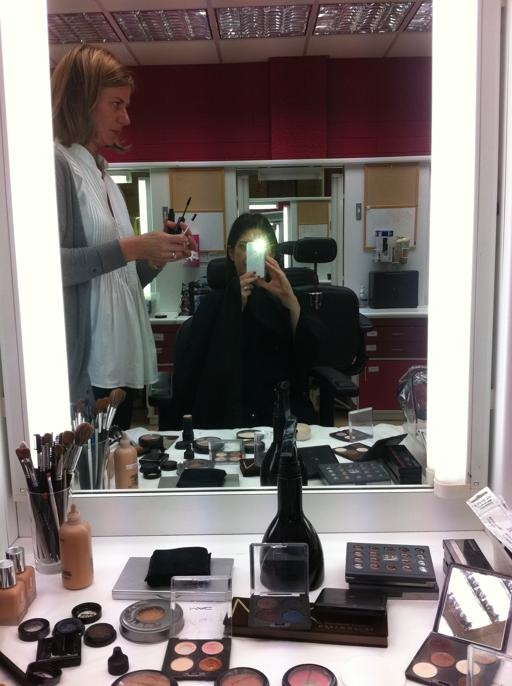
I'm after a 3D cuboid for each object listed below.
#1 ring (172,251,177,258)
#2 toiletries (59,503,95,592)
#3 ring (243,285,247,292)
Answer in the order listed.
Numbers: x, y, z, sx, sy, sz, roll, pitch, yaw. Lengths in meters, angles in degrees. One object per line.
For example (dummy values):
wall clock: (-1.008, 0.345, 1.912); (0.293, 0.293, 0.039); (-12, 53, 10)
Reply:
ring: (-0.136, -0.146, 0.908); (0.010, 0.010, 0.003); (-28, 14, -24)
toiletries: (-0.245, 0.273, 0.752); (0.045, 0.116, 0.041); (-6, 8, -30)
ring: (-0.018, -0.091, 0.926); (0.007, 0.007, 0.003); (-2, 5, -10)
